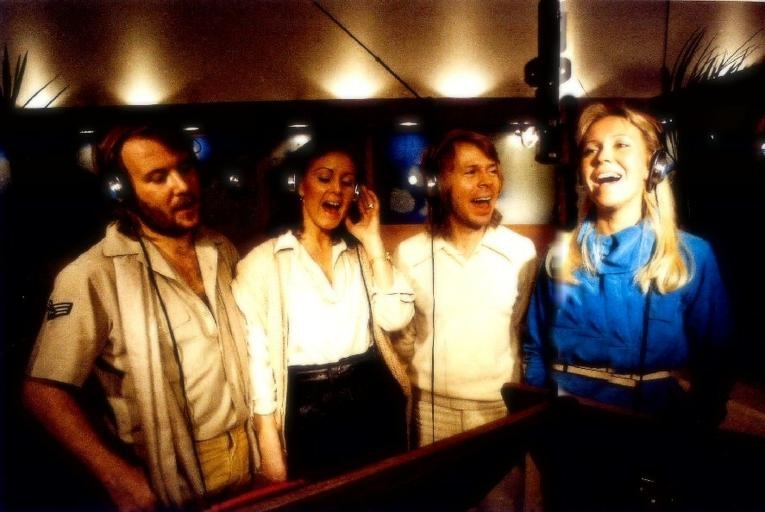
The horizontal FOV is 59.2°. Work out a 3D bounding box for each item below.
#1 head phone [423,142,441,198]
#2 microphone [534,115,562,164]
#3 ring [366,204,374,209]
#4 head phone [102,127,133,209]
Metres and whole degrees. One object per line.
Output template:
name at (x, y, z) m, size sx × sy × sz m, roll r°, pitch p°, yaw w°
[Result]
head phone at (0.445, -0.766, 6.091) m, size 0.132 × 0.374 × 0.318 m, roll -5°, pitch 12°, yaw 4°
microphone at (1.427, -0.991, 5.787) m, size 0.220 × 0.396 × 0.131 m, roll -3°, pitch 8°, yaw 12°
ring at (-0.116, -0.447, 6.095) m, size 0.049 × 0.036 × 0.016 m, roll -7°, pitch -11°, yaw -13°
head phone at (-2.284, -0.775, 5.733) m, size 0.207 × 0.536 × 0.437 m, roll -11°, pitch 27°, yaw -37°
